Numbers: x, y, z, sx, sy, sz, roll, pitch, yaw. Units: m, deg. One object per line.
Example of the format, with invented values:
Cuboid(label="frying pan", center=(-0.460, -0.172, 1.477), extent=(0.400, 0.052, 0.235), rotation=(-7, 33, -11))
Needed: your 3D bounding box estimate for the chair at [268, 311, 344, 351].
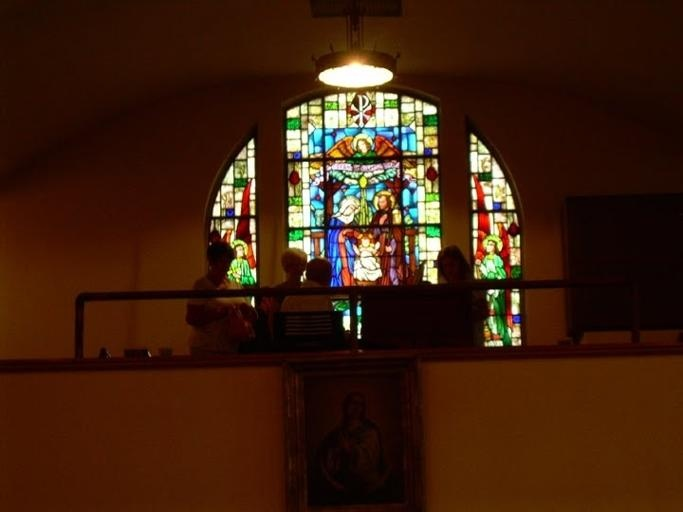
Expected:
Cuboid(label="chair", center=(-0.229, 0.466, 6.947), extent=(0.518, 0.337, 0.299), rotation=(-2, 28, -2))

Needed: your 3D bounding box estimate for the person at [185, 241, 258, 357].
Cuboid(label="person", center=(-0.846, 0.417, 7.089), extent=(0.513, 1.054, 0.442), rotation=(2, 6, 22))

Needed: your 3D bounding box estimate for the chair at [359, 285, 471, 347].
Cuboid(label="chair", center=(0.518, 0.436, 6.781), extent=(0.753, 0.392, 0.422), rotation=(-1, -4, 2))
